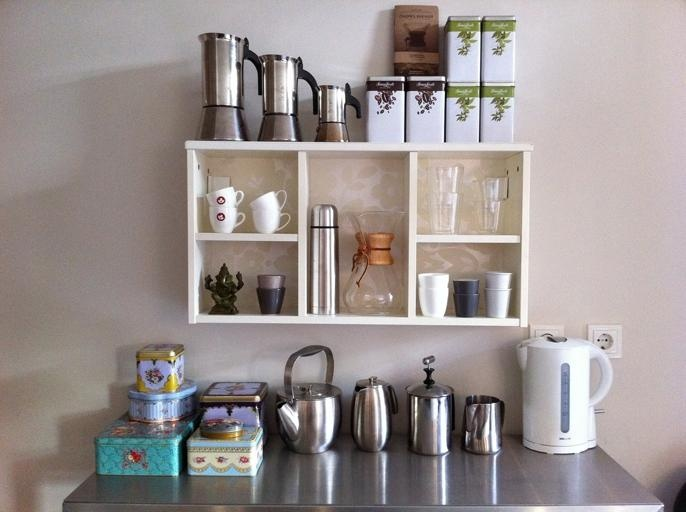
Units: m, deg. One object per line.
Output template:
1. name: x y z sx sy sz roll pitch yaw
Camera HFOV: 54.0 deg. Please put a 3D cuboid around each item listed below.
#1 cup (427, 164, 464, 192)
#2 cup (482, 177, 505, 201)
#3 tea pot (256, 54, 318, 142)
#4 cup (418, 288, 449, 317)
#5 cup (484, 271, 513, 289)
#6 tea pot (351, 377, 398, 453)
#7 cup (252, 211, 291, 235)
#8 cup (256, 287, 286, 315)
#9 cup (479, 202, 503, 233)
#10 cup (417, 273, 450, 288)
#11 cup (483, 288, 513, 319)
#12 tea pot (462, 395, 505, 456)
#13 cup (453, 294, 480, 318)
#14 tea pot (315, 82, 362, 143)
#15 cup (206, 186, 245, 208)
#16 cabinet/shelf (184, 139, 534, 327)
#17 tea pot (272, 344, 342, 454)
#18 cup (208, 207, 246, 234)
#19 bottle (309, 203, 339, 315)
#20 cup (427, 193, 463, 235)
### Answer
1. cup: 0.351 -0.268 2.343 0.086 0.075 0.099 1 -3 0
2. cup: 0.518 -0.229 2.300 0.079 0.104 0.072 0 -3 0
3. tea pot: -0.188 -0.534 2.293 0.213 0.290 0.075 -3 6 -7
4. cup: 0.309 0.154 2.338 0.094 0.105 0.142 -2 6 4
5. cup: 0.529 0.087 2.300 0.062 0.040 0.064 1 -4 0
6. tea pot: 0.106 0.565 2.384 0.159 0.246 0.149 -2 -1 0
7. cup: -0.251 -0.114 2.339 0.113 0.063 0.078 0 0 -11
8. cup: -0.248 0.156 2.313 0.089 0.074 0.090 0 -2 0
9. cup: 0.502 -0.127 2.337 0.108 0.137 0.087 1 -1 5
10. cup: 0.308 0.091 2.295 0.061 0.032 0.061 -3 -3 0
11. cup: 0.522 0.163 2.279 0.087 0.096 0.092 2 -7 0
12. tea pot: 0.497 0.595 2.374 0.166 0.175 0.135 1 -2 -30
13. cup: 0.428 0.168 2.306 0.104 0.084 0.075 -4 7 -17
14. tea pot: -0.016 -0.490 2.335 0.164 0.209 0.117 0 0 -9
15. cup: -0.396 -0.206 2.356 0.098 0.067 0.203 0 7 18
16. cabinet/shelf: 0.054 -0.069 2.361 1.155 0.662 0.197 0 -4 0
17. tea pot: -0.129 0.513 2.391 0.232 0.362 0.329 1 5 36
18. cup: -0.392 -0.120 2.302 0.107 0.078 0.084 0 -1 -17
19. bottle: -0.069 0.015 2.318 0.109 0.375 0.092 -3 6 -6
20. cup: 0.359 -0.145 2.368 0.134 0.147 0.133 3 -3 0
